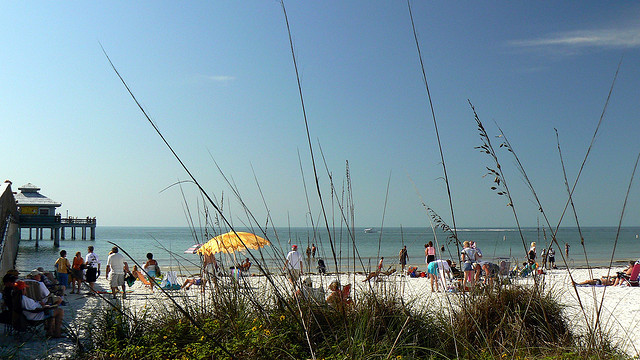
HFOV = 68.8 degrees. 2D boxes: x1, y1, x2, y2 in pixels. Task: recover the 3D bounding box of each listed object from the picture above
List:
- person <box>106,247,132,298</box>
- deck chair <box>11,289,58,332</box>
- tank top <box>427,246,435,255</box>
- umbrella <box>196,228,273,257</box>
[{"bbox_3d":[-6.763,3.064,15.652,0.834,1.666,0.454,0,-11,-34],"label":"person"},{"bbox_3d":[-6.846,3.166,11.233,0.939,1.099,0.905,1,3,-24],"label":"deck chair"},{"bbox_3d":[4.763,3.036,20.080,0.272,0.312,0.420,-7,-7,21],"label":"tank top"},{"bbox_3d":[-2.221,1.547,11.914,1.586,0.760,1.575,-1,4,41],"label":"umbrella"}]
